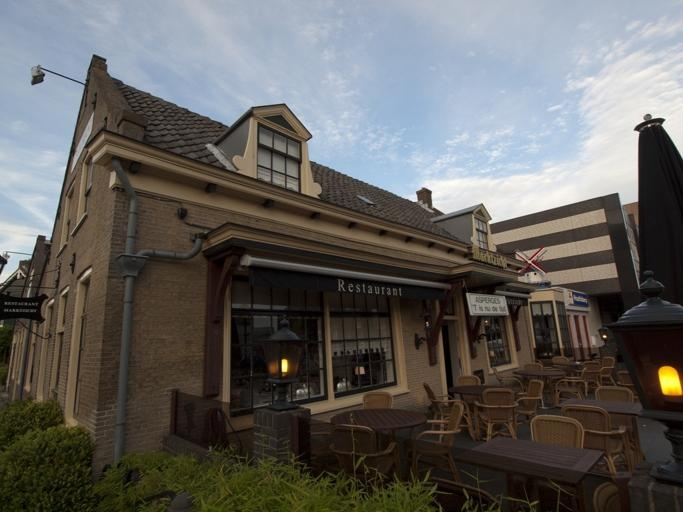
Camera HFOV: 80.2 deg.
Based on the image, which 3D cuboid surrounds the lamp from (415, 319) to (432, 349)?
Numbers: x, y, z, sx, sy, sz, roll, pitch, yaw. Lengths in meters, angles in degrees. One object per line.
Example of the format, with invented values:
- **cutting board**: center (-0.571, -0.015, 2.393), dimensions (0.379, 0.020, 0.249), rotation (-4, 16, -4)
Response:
- **lamp**: center (2.400, 2.346, 12.086), dimensions (0.691, 0.832, 0.180), rotation (1, -10, -32)
